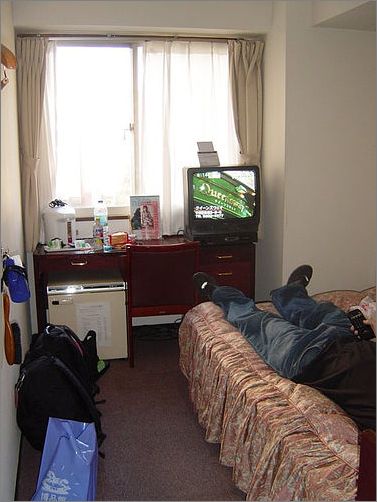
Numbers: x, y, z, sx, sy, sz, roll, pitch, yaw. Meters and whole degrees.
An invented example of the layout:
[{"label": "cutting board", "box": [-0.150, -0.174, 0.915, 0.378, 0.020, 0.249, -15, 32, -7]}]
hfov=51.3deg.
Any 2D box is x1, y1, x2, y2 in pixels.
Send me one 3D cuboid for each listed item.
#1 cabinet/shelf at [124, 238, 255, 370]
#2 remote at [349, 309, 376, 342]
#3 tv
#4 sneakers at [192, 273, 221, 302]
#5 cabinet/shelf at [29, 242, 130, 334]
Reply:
[{"label": "cabinet/shelf", "box": [-0.006, 0.339, 2.908, 0.927, 0.879, 0.426, -3, 11, -17]}, {"label": "remote", "box": [0.756, 0.324, 1.713, 0.060, 0.045, 0.142, -24, 42, 10]}, {"label": "tv", "box": [0.200, -0.367, 3.307, 0.699, 0.806, 0.524, -1, 7, -11]}, {"label": "sneakers", "box": [0.104, 0.209, 2.427, 0.081, 0.256, 0.099, -25, -22, 7]}, {"label": "cabinet/shelf", "box": [-0.829, 0.275, 2.873, 0.525, 0.573, 0.334, -3, 3, -19]}]
